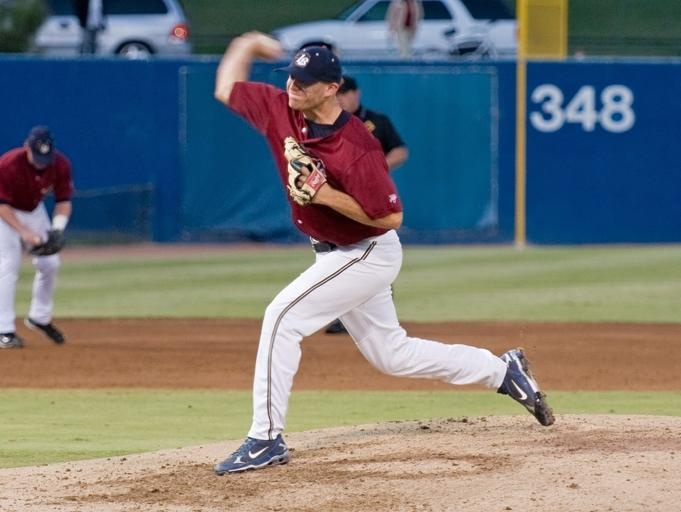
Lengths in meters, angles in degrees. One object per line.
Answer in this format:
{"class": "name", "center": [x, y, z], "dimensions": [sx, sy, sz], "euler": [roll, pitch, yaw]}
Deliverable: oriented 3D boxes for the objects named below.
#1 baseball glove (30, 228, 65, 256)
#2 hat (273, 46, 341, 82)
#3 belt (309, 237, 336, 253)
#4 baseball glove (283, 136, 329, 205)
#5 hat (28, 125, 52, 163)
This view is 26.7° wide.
{"class": "baseball glove", "center": [-2.868, -0.134, 14.053], "dimensions": [0.211, 0.251, 0.414], "euler": [2, 5, 21]}
{"class": "hat", "center": [-0.226, -1.520, 11.361], "dimensions": [0.407, 0.217, 0.273], "euler": [14, 11, -24]}
{"class": "belt", "center": [-0.140, -0.089, 11.603], "dimensions": [0.166, 0.115, 0.124], "euler": [-4, 15, -3]}
{"class": "baseball glove", "center": [-0.311, -0.680, 11.290], "dimensions": [0.476, 0.303, 0.202], "euler": [41, 16, 10]}
{"class": "hat", "center": [-2.944, -1.072, 13.968], "dimensions": [0.260, 0.377, 0.219], "euler": [-1, 5, -11]}
